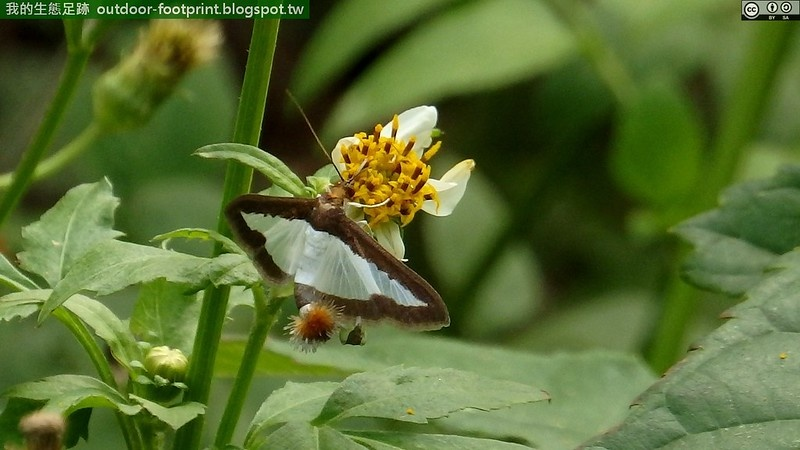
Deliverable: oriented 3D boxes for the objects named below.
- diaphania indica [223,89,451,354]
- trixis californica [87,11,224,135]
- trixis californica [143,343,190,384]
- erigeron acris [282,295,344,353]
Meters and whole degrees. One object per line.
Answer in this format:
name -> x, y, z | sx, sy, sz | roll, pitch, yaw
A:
diaphania indica -> -0.172, -0.053, 2.171 | 0.528, 0.687, 0.692 | -3, 8, -6
trixis californica -> -0.935, -0.584, 2.876 | 0.450, 0.441, 0.229 | -1, 21, -30
trixis californica -> -0.639, 0.370, 2.049 | 0.115, 0.067, 0.114 | 3, 18, -19
erigeron acris -> -0.222, 0.258, 1.946 | 0.077, 0.136, 0.135 | 45, 37, -12
